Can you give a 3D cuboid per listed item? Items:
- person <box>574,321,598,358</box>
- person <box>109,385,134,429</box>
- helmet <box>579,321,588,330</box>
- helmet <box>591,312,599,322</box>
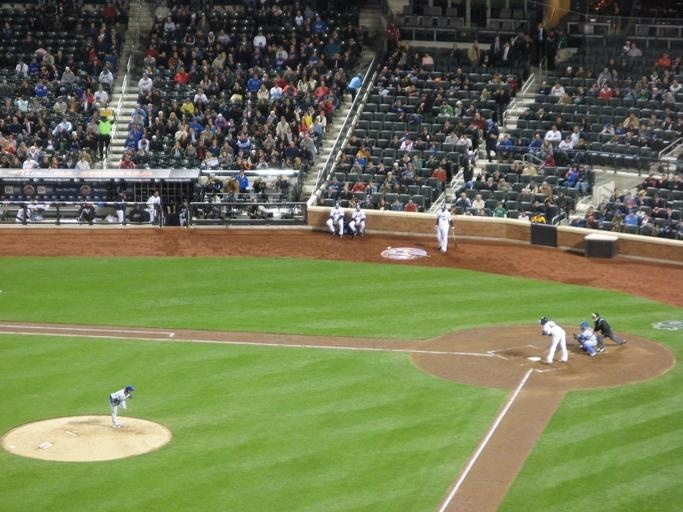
[{"bbox_3d":[8.079,2.670,42.488,0.818,1.061,0.655,-11,6,0],"label":"person"},{"bbox_3d":[-6.350,4.397,37.518,0.854,1.469,0.421,1,48,-18],"label":"person"},{"bbox_3d":[7.922,2.240,42.292,0.315,0.240,0.224,8,21,18],"label":"helmet"},{"bbox_3d":[8.437,1.979,42.742,0.234,0.240,0.286,-1,-12,12],"label":"helmet"}]
